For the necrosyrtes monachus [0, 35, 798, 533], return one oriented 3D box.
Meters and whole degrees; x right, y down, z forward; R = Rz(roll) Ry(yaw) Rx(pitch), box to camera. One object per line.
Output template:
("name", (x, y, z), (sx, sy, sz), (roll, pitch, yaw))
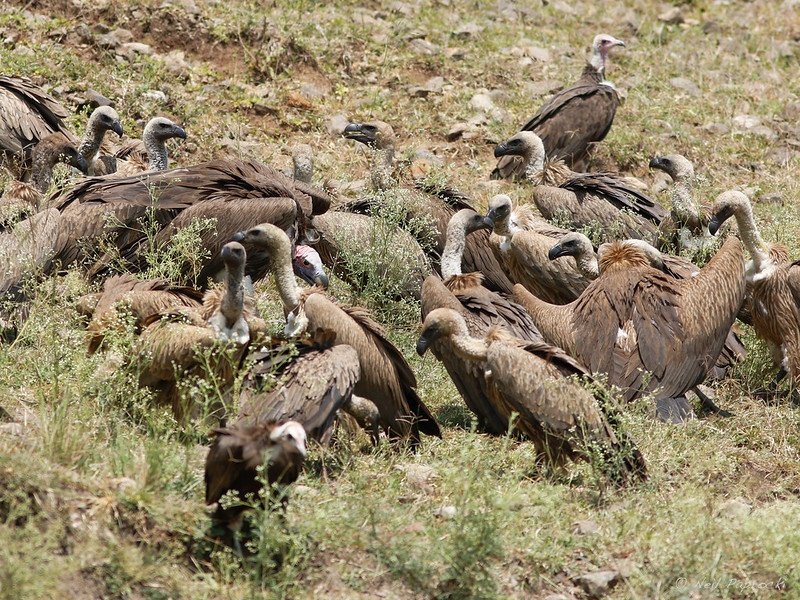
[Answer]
("necrosyrtes monachus", (-0.138, -0.173, 8.322), (4.536, 1.116, 4.562), (5, 35, 3))
